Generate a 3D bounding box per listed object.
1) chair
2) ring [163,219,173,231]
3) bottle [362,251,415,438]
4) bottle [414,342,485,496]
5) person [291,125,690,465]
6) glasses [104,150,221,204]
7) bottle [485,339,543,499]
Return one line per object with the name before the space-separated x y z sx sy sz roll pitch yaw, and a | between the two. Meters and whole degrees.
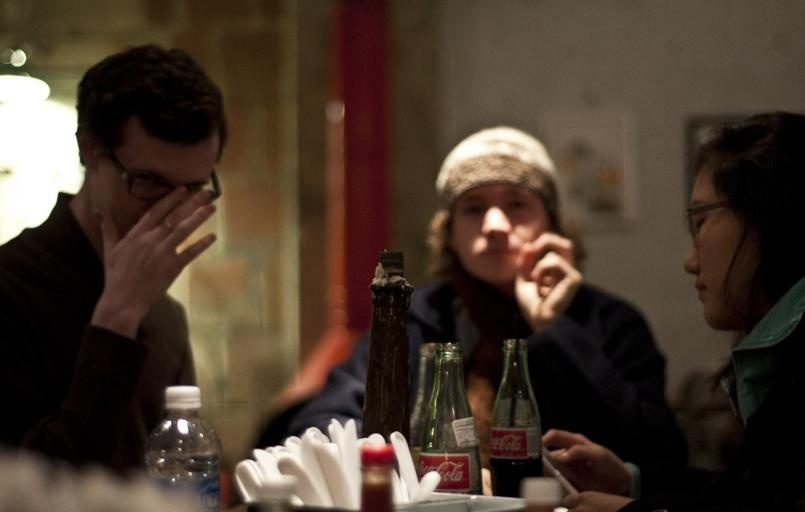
chair | 0.766 0.432 2.216 0.155 0.284 0.104 -11 -1 20
ring | -0.621 -0.082 2.259 0.006 0.027 0.025 -40 -47 23
bottle | -0.037 0.248 2.075 0.124 0.384 0.039 -1 -6 -3
bottle | 0.110 0.395 2.068 0.150 0.358 0.090 -2 -6 2
person | 0.333 0.142 2.561 1.034 1.505 0.831 -3 -16 16
glasses | -0.634 -0.213 2.271 0.295 0.136 0.058 0 -6 -15
bottle | 0.278 0.408 2.144 0.124 0.382 0.084 -1 -6 -8
